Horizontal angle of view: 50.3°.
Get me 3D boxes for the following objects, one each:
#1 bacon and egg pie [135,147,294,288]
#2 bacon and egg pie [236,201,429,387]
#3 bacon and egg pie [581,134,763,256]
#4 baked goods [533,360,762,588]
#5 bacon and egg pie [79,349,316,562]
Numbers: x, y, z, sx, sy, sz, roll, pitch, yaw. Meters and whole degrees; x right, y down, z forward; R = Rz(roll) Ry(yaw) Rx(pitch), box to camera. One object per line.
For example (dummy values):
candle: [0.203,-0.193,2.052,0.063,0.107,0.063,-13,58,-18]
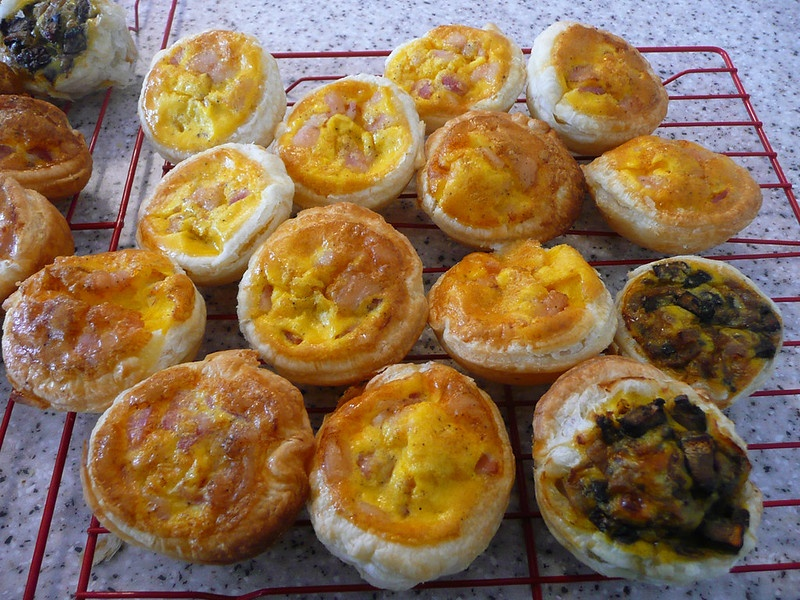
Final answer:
bacon and egg pie: [-0.484,-0.258,2.346,0.407,0.143,0.391,-3,62,16]
bacon and egg pie: [-0.158,0.050,2.369,0.508,0.187,0.530,-10,22,-12]
bacon and egg pie: [0.820,-0.283,2.519,0.552,0.483,0.291,9,80,-19]
baked goods: [0.569,0.383,2.016,0.482,0.154,0.504,3,65,2]
bacon and egg pie: [-0.485,0.380,2.060,0.517,0.117,0.461,17,67,9]
